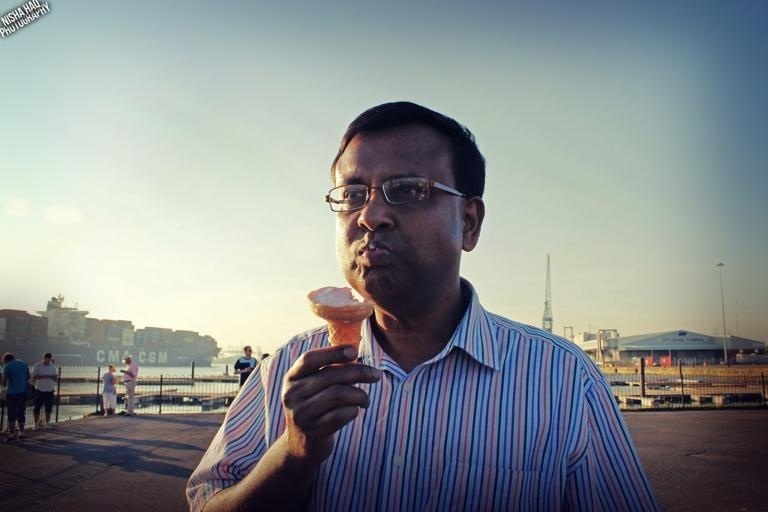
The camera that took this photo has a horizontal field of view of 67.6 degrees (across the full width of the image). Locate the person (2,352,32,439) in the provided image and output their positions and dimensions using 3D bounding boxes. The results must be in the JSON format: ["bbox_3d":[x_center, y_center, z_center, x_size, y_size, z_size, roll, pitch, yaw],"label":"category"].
[{"bbox_3d":[-8.889,3.286,13.578,0.854,2.261,0.873,0,-1,-30],"label":"person"}]
